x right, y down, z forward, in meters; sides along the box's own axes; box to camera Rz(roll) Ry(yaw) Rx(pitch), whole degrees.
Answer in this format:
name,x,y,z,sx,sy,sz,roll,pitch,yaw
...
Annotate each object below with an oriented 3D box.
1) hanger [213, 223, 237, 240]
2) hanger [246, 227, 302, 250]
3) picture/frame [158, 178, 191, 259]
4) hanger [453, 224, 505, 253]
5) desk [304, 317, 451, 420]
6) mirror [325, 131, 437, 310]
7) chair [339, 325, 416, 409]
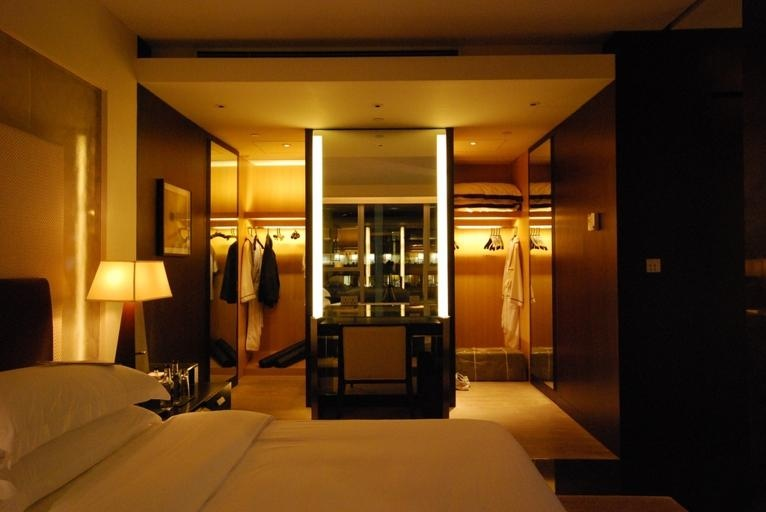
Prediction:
name,x,y,z,sx,sy,sz,roll,pitch,yaw
hanger,-1.733,-0.281,6.977,0.053,0.153,0.230,6,5,35
hanger,-1.355,-0.248,7.897,0.761,0.279,0.363,-1,-4,-25
picture/frame,-1.907,-0.314,5.839,0.047,0.711,0.956,0,8,-36
hanger,1.197,-0.208,7.765,0.601,0.335,0.238,-3,-4,9
desk,0.010,0.994,6.178,1.564,1.157,0.886,0,3,-1
mirror,-0.013,-0.347,6.367,1.690,2.316,0.170,1,2,5
chair,-0.060,0.944,5.720,0.562,0.652,0.635,0,1,1
